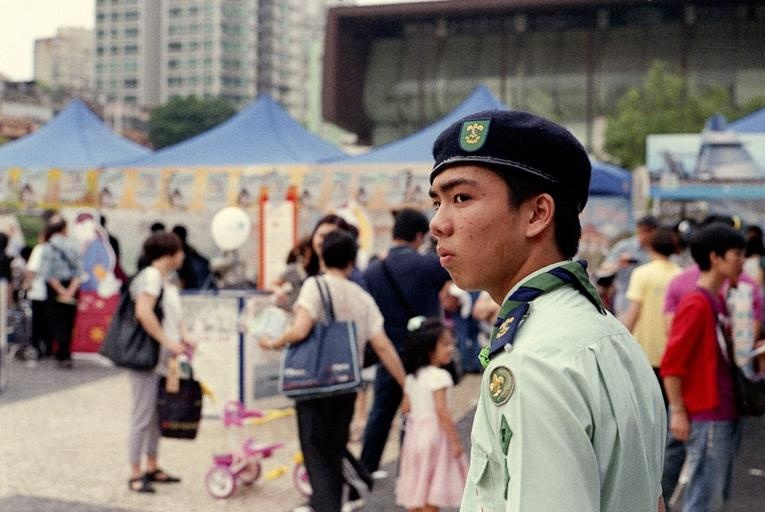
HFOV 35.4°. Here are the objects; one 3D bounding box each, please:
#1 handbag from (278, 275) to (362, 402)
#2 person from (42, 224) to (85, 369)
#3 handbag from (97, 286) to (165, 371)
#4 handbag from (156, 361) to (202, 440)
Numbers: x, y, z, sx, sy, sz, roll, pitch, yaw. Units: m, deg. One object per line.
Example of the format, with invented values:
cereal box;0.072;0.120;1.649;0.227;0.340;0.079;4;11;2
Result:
handbag;-0.506;0.698;9.854;0.899;1.255;0.442;-5;-13;-3
person;-2.924;0.340;10.894;0.350;1.329;0.175;1;1;-10
handbag;-2.182;0.554;10.732;0.470;0.896;0.595;5;12;-5
handbag;-1.847;1.279;10.839;0.440;0.684;0.397;0;3;-21
